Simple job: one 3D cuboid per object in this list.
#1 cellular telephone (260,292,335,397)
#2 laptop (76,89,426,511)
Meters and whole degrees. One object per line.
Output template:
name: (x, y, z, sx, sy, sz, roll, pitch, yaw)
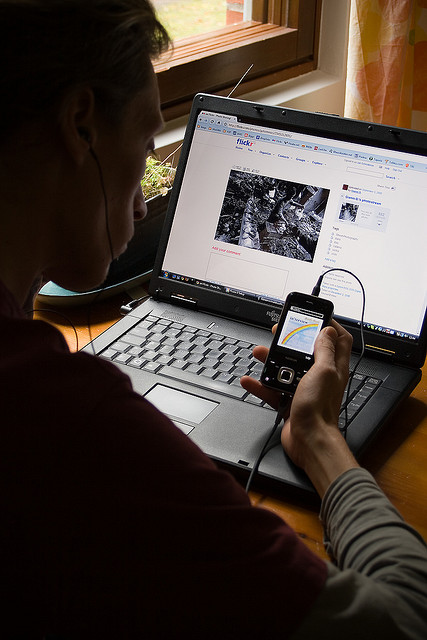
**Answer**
cellular telephone: (0.118, 0.030, 0.677, 0.070, 0.165, 0.018, 14, 32, 4)
laptop: (0.093, -0.010, 0.862, 0.563, 0.409, 0.585, 27, 46, 18)
